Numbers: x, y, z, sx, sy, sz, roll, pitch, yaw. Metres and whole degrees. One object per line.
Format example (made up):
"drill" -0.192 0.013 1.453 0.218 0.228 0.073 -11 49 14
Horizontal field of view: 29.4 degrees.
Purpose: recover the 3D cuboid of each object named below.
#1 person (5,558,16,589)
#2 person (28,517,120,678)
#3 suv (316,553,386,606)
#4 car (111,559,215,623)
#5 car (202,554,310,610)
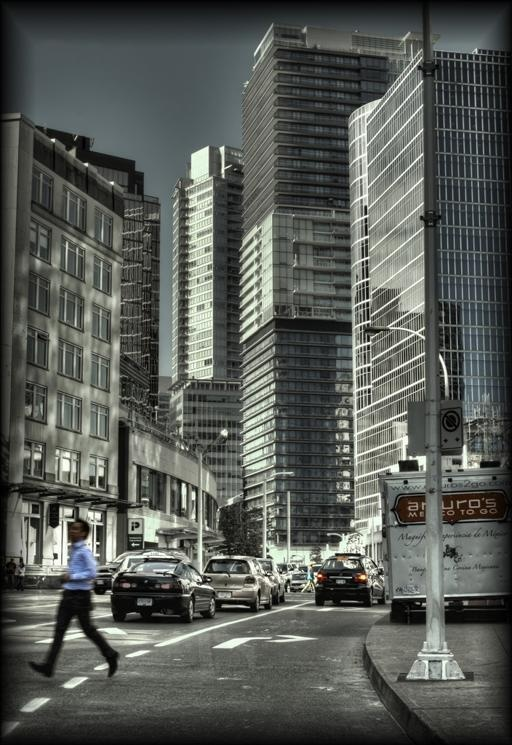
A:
"person" -11.917 9.661 46.975 0.459 1.310 3.025 2 -12 -14
"person" -1.844 2.271 9.867 0.596 1.611 1.073 -4 -11 20
"suv" 3.226 6.952 33.010 1.375 1.332 3.288 -1 -11 10
"car" -1.956 4.572 20.975 1.102 0.842 2.387 -1 -9 8
"car" -0.369 6.117 28.410 1.417 1.300 3.332 -2 -9 9
